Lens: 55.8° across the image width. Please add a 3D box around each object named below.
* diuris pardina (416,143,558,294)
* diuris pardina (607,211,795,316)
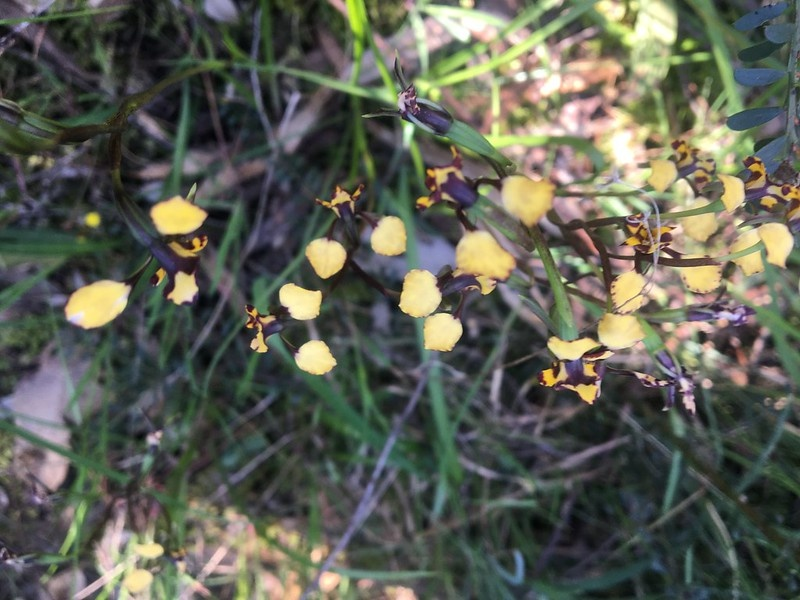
[{"bbox_3d":[0.156,-0.171,1.460,0.231,0.269,0.263,30,-11,8],"label":"diuris pardina"},{"bbox_3d":[0.561,-0.085,1.494,0.217,0.281,0.288,-1,20,-5],"label":"diuris pardina"}]
